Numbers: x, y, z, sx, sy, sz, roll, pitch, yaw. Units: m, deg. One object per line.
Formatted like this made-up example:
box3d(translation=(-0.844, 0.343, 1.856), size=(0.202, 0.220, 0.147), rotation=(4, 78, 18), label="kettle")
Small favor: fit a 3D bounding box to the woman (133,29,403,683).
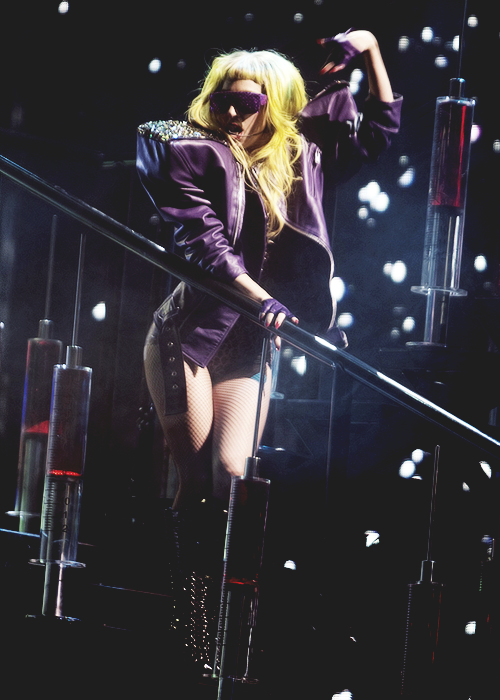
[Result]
box3d(translation=(0.019, -0.023, 2.185), size=(0.770, 1.735, 0.645), rotation=(4, -3, -3), label="woman")
